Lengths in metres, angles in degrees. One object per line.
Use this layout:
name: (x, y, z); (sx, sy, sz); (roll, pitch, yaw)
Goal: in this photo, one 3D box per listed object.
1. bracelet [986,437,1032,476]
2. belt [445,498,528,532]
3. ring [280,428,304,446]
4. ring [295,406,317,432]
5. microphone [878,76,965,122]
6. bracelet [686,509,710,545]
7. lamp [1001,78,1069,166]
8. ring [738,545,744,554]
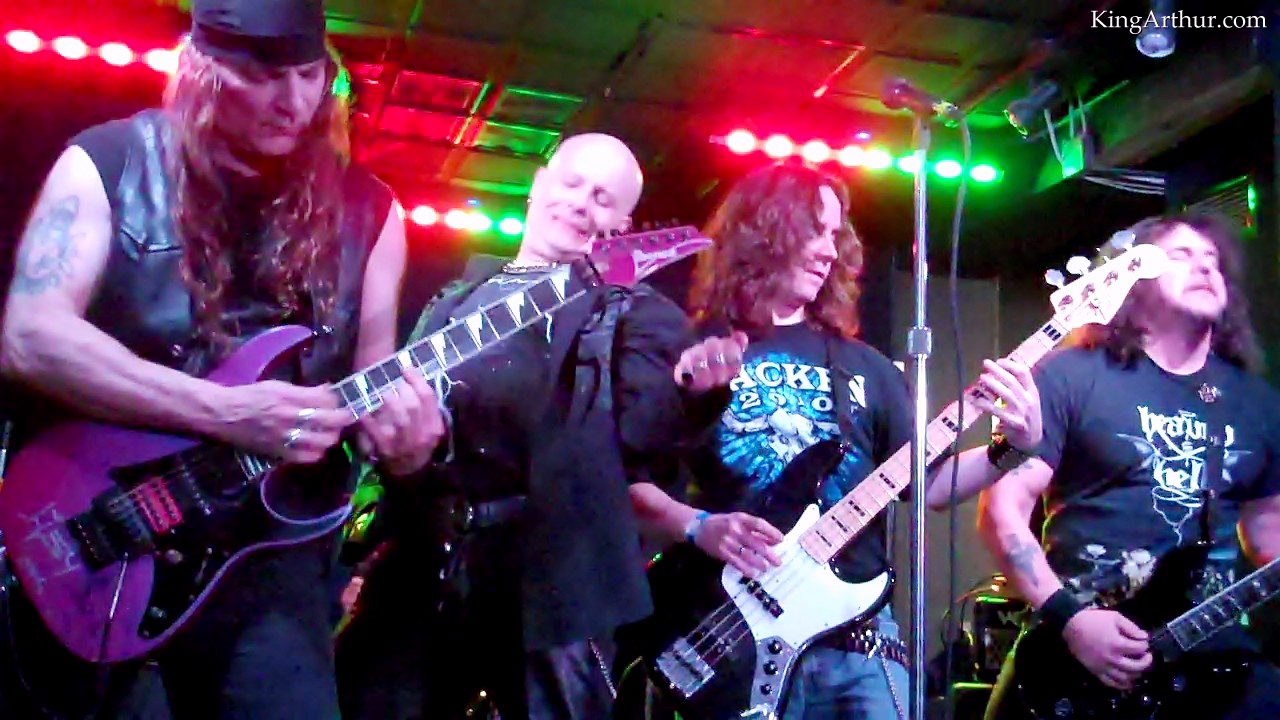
bracelet: (1.644, 0.434, 4.457); (0.129, 0.063, 0.171); (26, 1, -10)
belt: (-0.614, 0.618, 3.993); (0.220, 0.158, 0.218); (0, 2, -25)
ring: (-1.247, 0.281, 3.581); (0.048, 0.067, 0.022); (45, -10, -2)
ring: (-1.203, 0.217, 3.601); (0.028, 0.078, 0.052); (5, -26, 49)
microphone: (1.231, -1.150, 4.370); (0.311, 0.183, 0.129); (23, 11, -1)
bracelet: (0.247, 0.729, 4.394); (0.116, 0.120, 0.093); (23, 41, 36)
lamp: (2.967, -1.848, 7.489); (0.350, 0.496, 0.594); (10, 5, 29)
ring: (0.434, 0.824, 4.308); (0.035, 0.036, 0.010); (4, 0, 30)
